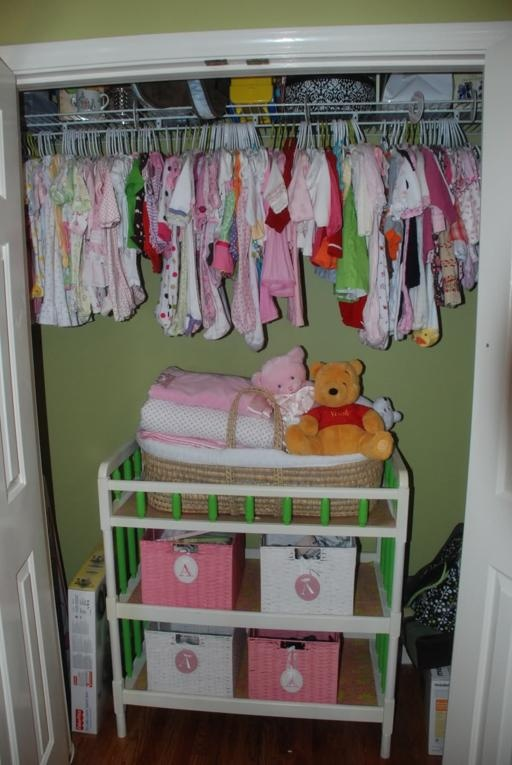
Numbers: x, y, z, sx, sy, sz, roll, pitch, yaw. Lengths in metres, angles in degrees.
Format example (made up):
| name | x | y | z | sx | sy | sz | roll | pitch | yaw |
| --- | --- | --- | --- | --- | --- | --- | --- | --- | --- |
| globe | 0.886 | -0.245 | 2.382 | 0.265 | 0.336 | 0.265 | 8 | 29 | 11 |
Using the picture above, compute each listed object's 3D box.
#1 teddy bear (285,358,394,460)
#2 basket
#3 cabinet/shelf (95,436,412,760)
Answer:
| name | x | y | z | sx | sy | sz | roll | pitch | yaw |
| --- | --- | --- | --- | --- | --- | --- | --- | --- | --- |
| teddy bear | 0.217 | 0.072 | 1.652 | 0.254 | 0.288 | 0.220 | -3 | -6 | 9 |
| basket | -0.014 | 0.139 | 1.649 | 0.468 | 0.191 | 0.371 | 1 | 12 | 0 |
| cabinet/shelf | -0.011 | 0.611 | 1.733 | 0.755 | 0.823 | 0.439 | 1 | 10 | 6 |
